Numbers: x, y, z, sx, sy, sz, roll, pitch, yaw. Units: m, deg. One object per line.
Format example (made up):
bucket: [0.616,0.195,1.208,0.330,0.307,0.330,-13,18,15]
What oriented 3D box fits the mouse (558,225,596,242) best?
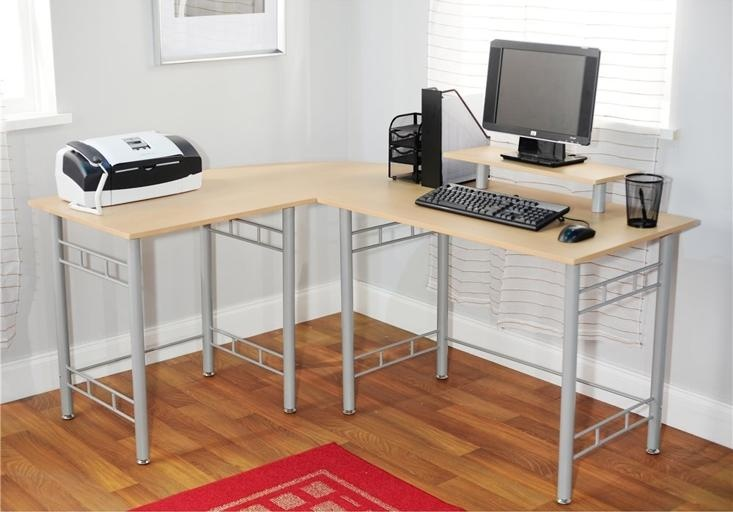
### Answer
mouse: [0.744,-0.081,2.191,0.115,0.029,0.065,-7,15,-38]

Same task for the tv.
tv: [0.713,-0.615,2.489,0.262,0.442,0.588,-16,24,-41]

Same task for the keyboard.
keyboard: [0.485,-0.193,2.410,0.539,0.077,0.199,14,26,31]

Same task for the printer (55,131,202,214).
printer: [-0.959,-0.359,2.545,0.297,0.247,0.525,22,31,40]
